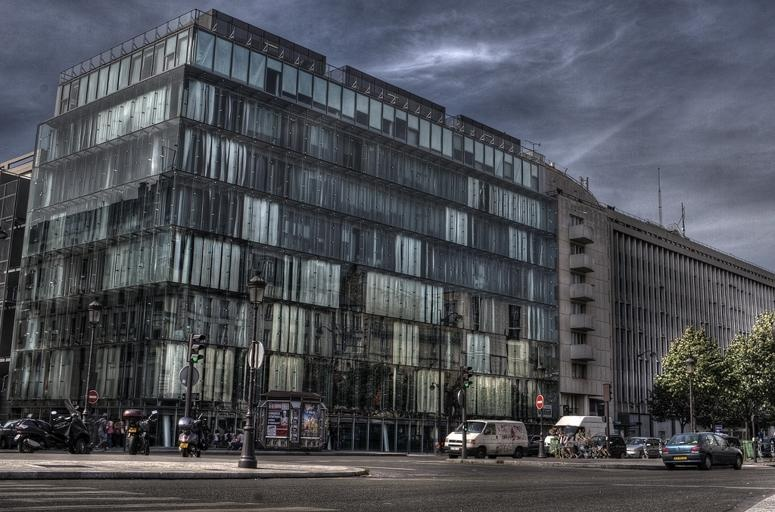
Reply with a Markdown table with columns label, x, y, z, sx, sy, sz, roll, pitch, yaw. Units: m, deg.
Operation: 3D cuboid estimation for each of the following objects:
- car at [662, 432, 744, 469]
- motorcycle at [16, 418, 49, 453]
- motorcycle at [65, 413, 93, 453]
| label | x | y | z | sx | sy | sz | roll | pitch | yaw |
| --- | --- | --- | --- | --- | --- | --- | --- | --- | --- |
| car | 19.994 | 12.209 | 58.643 | 5.194 | 1.725 | 2.384 | 8 | -12 | -41 |
| motorcycle | -19.451 | 9.996 | 51.075 | 1.554 | 1.858 | 1.481 | 3 | 13 | -27 |
| motorcycle | -17.075 | 9.896 | 51.659 | 1.300 | 1.906 | 1.643 | 4 | 13 | -25 |
